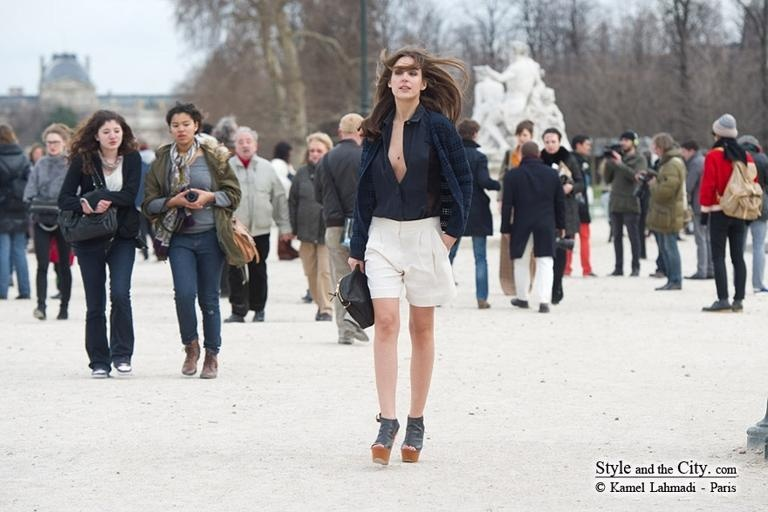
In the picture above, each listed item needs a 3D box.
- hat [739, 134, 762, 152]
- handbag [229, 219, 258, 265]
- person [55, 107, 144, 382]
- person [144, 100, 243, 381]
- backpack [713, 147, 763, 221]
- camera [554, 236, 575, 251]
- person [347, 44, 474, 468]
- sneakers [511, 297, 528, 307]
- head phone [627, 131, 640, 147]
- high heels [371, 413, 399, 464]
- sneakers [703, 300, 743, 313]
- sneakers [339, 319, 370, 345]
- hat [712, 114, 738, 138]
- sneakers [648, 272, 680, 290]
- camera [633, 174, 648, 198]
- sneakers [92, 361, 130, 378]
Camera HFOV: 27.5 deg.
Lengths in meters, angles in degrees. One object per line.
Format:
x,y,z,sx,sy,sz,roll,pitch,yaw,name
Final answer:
5.002,-1.524,21.430,0.347,0.122,0.248,11,1,-31,hat
-1.550,-0.141,17.359,0.172,0.417,0.359,-29,12,-17,handbag
-3.072,-0.133,17.109,0.901,2.789,0.914,-3,14,-11,person
-2.062,-0.144,17.055,1.070,2.899,0.889,-3,13,-9,person
4.468,-0.787,19.706,0.524,0.689,0.494,2,14,9,backpack
2.363,-0.145,20.470,0.266,0.102,0.152,4,20,-10,camera
0.205,-0.028,14.930,0.951,3.738,1.272,12,18,43,person
1.764,0.626,20.704,0.096,0.149,0.219,-10,26,-24,sneakers
3.702,-1.710,23.214,0.171,0.167,0.162,18,22,32,head phone
-0.006,1.702,14.768,0.188,0.225,0.511,3,36,11,high heels
4.313,0.657,20.009,0.484,0.178,0.188,1,2,8,sneakers
-0.315,0.921,18.685,0.167,0.222,0.505,-25,-19,27,sneakers
4.302,-1.612,19.807,0.301,0.269,0.292,1,13,-19,hat
3.968,0.413,22.199,0.409,0.165,0.133,7,3,23,sneakers
3.806,-1.002,23.289,0.214,0.351,0.134,-3,8,-37,camera
-2.982,1.221,17.109,0.421,0.160,0.300,-2,14,-7,sneakers
